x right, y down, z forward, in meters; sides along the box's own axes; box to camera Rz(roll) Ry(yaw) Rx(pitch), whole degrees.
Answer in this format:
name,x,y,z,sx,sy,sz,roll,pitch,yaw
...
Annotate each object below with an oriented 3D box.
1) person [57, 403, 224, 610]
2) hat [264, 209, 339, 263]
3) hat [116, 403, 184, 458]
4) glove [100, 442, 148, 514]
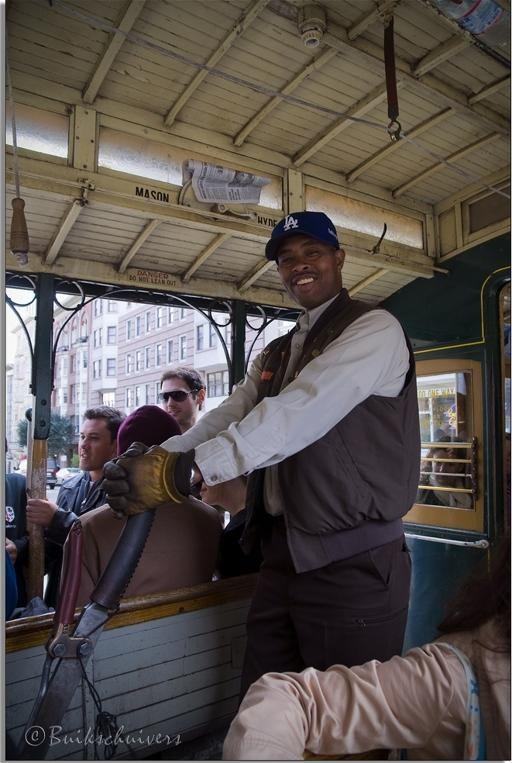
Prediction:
name,x,y,z,sx,sy,sz,roll,pitch,yaw
person,-0.428,0.629,2.334,0.510,0.281,0.870,-3,34,-10
hat,0.113,-0.543,2.237,0.254,0.159,0.333,-5,-2,-8
hat,-0.419,0.188,2.364,0.243,0.215,0.169,0,-16,-21
glove,-0.368,0.261,1.689,0.063,0.167,0.130,11,34,-8
